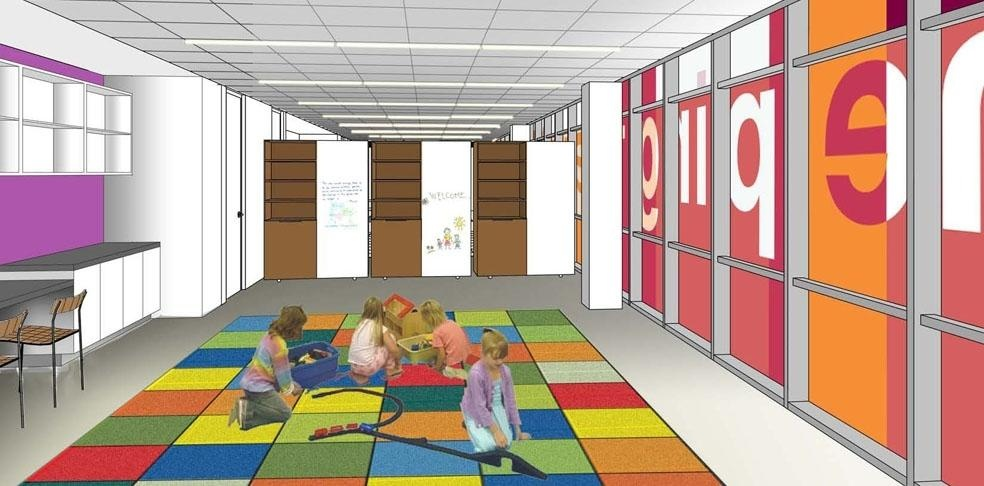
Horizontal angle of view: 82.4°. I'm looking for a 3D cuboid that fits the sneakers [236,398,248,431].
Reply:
[{"bbox_3d":[-3.161,2.194,7.226,0.193,0.143,0.372,0,-84,-10],"label":"sneakers"}]
